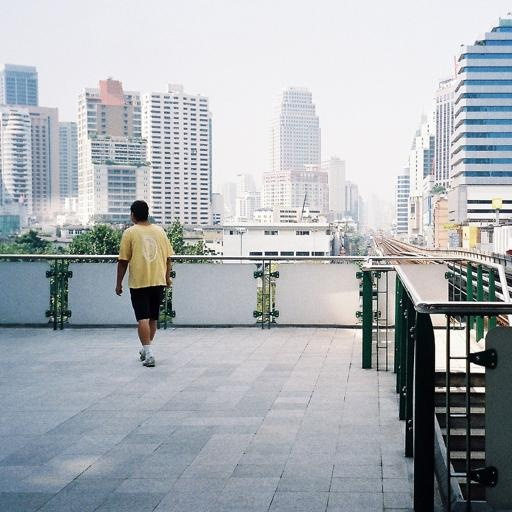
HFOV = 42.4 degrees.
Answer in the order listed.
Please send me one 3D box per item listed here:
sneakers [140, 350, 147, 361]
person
[{"bbox_3d":[-1.127,0.990,6.602,0.048,0.182,0.070,3,-2,-39],"label":"sneakers"},{"bbox_3d":[-1.099,0.247,6.673,0.601,1.157,0.538,-3,2,-27],"label":"person"}]
